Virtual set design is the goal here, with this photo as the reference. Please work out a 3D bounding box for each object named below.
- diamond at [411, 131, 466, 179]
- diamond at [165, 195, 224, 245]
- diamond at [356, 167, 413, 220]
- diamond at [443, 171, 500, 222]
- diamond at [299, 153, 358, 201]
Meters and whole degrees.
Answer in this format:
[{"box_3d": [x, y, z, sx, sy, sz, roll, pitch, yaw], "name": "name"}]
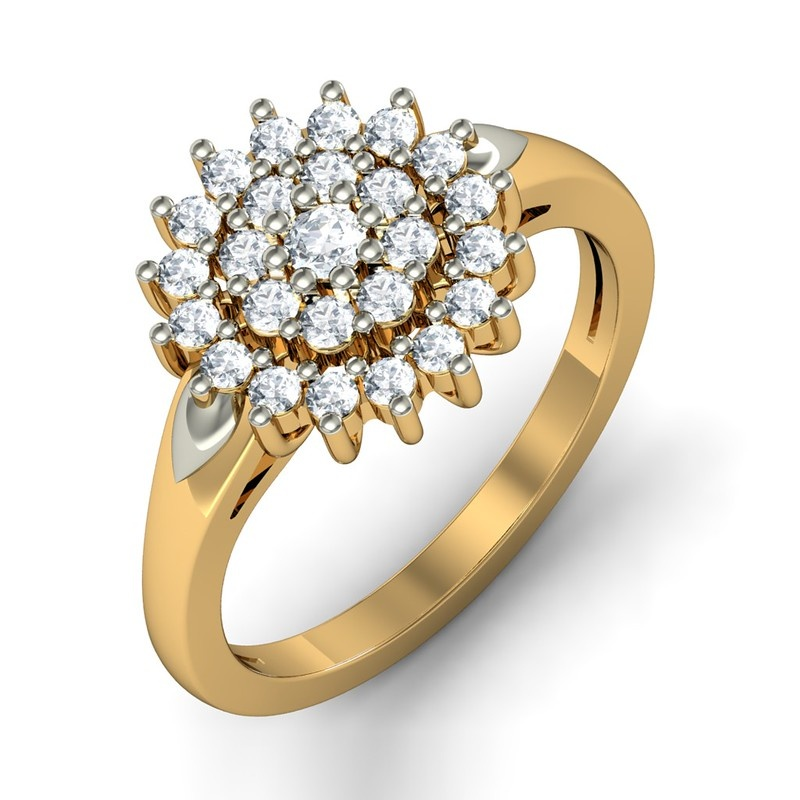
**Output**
[{"box_3d": [0.073, -0.463, 1.699, 0.103, 0.102, 0.090, -11, -74, -4], "name": "diamond"}, {"box_3d": [-0.358, -0.328, 1.664, 0.060, 0.116, 0.104, -28, -70, -32], "name": "diamond"}, {"box_3d": [-0.034, -0.373, 1.673, 0.106, 0.064, 0.093, -20, -82, -9], "name": "diamond"}, {"box_3d": [0.135, -0.365, 1.643, 0.093, 0.046, 0.089, -12, -88, -3], "name": "diamond"}, {"box_3d": [-0.127, -0.416, 1.632, 0.095, 0.094, 0.081, -38, -74, 4], "name": "diamond"}]
